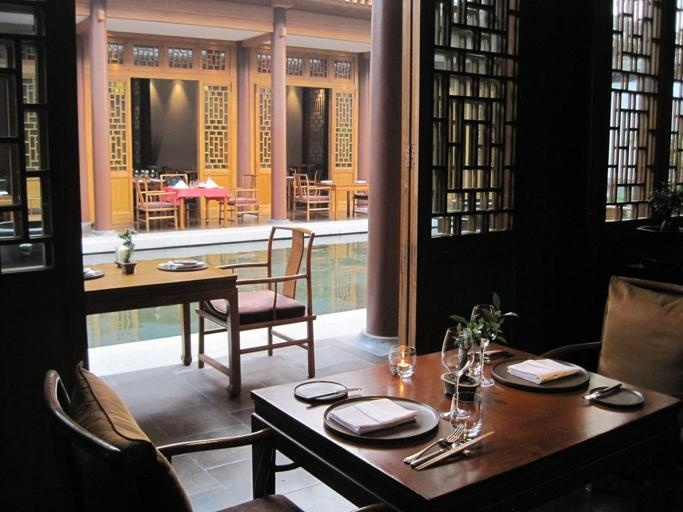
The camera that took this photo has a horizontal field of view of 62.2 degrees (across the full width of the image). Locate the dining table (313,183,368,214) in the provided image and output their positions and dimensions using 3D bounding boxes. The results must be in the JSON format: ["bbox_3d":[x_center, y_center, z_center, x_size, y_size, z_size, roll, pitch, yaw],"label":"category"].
[{"bbox_3d":[0.008,-1.406,12.566,0.879,0.895,0.896,-3,7,-19],"label":"dining table"}]

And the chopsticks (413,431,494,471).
[{"bbox_3d":[0.318,0.557,1.614,0.166,0.019,0.019,-18,25,-26],"label":"chopsticks"}]

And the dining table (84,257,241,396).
[{"bbox_3d":[-1.162,0.184,3.580,1.119,0.750,0.757,-4,7,-34],"label":"dining table"}]

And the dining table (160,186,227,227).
[{"bbox_3d":[-2.676,-1.093,10.333,0.992,0.548,0.838,-3,7,-22],"label":"dining table"}]

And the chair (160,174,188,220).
[{"bbox_3d":[-3.234,-1.285,10.991,0.583,1.063,0.625,-6,9,-37],"label":"chair"}]

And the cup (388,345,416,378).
[{"bbox_3d":[0.229,0.383,2.147,0.109,0.119,0.114,-1,6,0],"label":"cup"}]

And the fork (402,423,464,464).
[{"bbox_3d":[0.265,0.545,1.644,0.028,0.030,0.203,3,18,44],"label":"fork"}]

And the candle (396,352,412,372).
[{"bbox_3d":[0.230,0.381,2.082,0.065,0.077,0.068,0,2,0],"label":"candle"}]
